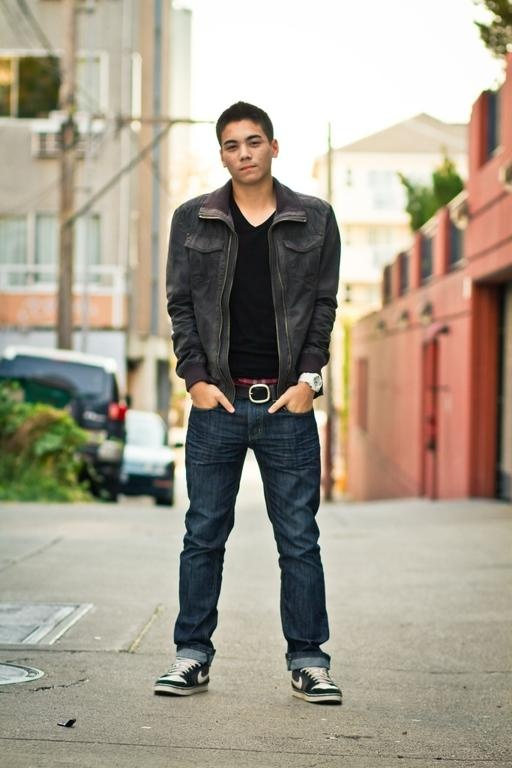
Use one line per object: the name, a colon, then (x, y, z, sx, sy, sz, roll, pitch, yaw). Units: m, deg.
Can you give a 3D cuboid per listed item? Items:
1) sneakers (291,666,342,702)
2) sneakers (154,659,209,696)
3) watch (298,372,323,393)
sneakers: (0.183, 0.929, 3.111, 0.070, 0.083, 0.198, 2, 5, -12)
sneakers: (-0.225, 0.923, 3.141, 0.078, 0.095, 0.223, 0, -8, 23)
watch: (0.171, -0.019, 3.158, 0.076, 0.078, 0.053, -1, 42, 15)
